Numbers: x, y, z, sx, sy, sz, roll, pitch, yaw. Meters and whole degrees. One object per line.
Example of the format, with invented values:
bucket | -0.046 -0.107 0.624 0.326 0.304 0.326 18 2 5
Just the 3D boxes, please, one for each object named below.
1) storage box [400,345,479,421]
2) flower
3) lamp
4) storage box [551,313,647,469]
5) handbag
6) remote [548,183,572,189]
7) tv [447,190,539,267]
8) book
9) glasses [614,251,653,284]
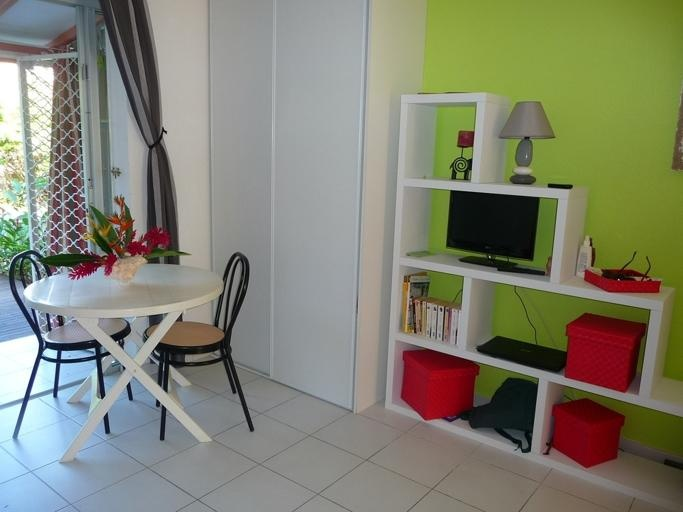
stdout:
storage box | 0.667 0.870 3.628 0.391 0.344 0.405 -1 10 -23
flower | -1.372 -0.078 3.108 0.747 0.501 0.697 -7 8 -38
lamp | 1.120 -0.696 3.235 0.299 0.491 0.293 2 16 5
storage box | 1.522 0.792 3.145 0.378 0.818 0.434 12 20 36
handbag | 0.998 1.107 3.389 0.393 0.137 0.482 21 -14 15
remote | 1.270 -0.406 3.040 0.127 0.023 0.122 6 17 20
tv | 0.957 -0.218 3.355 0.593 0.451 0.168 11 16 36
book | 0.601 0.371 3.540 0.439 0.463 0.261 8 8 40
glasses | 1.699 0.078 3.020 0.122 0.215 0.199 1 0 -18
